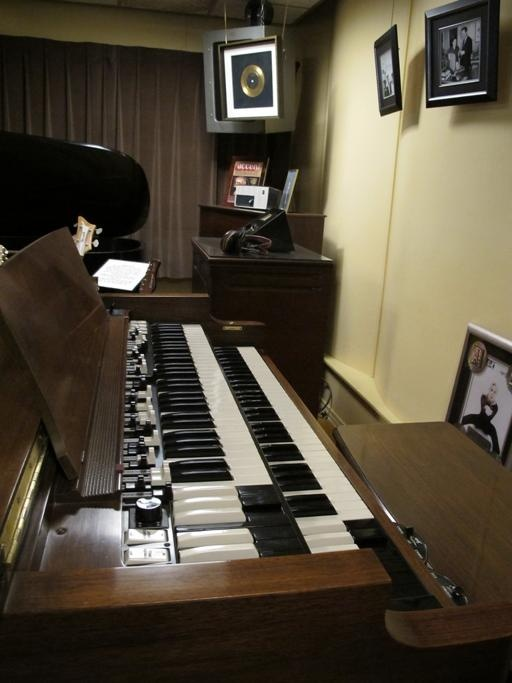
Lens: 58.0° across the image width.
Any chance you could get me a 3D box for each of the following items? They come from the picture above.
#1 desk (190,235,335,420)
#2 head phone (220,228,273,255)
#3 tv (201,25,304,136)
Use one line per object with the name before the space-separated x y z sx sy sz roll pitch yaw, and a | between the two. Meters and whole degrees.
desk | -0.030 -0.017 2.994 0.700 1.289 1.298 -3 23 -7
head phone | -0.039 -0.491 2.320 0.205 0.115 0.158 6 19 1
tv | 0.006 -1.887 3.383 0.613 0.606 0.463 4 26 14
